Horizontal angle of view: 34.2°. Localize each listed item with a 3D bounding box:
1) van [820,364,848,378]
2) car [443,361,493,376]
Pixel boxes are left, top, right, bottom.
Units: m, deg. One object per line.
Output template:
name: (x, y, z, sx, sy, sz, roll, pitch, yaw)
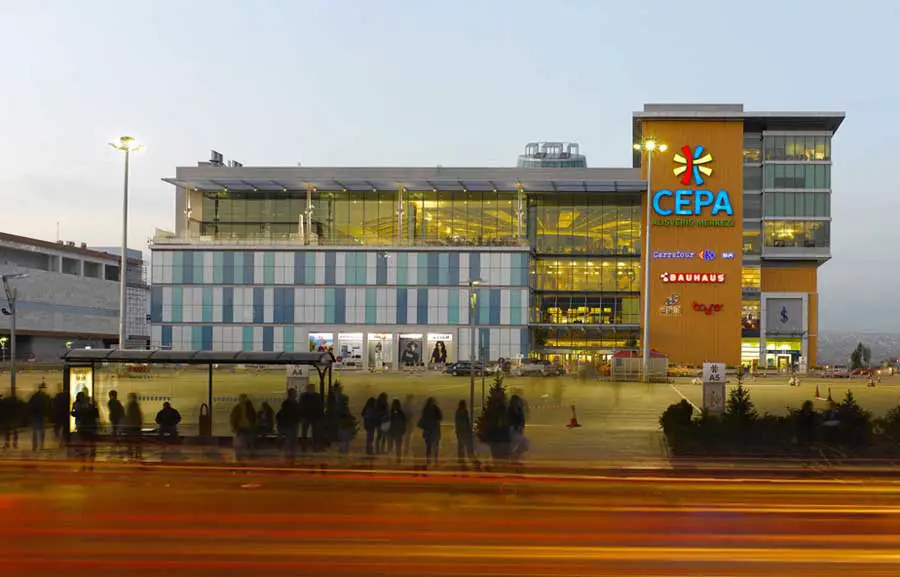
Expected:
van: (41.158, 9.088, 155.824, 1.914, 0.823, 2.563, 0, 1, 24)
car: (1.523, 8.316, 141.750, 5.254, 1.341, 2.243, -2, 0, 11)
